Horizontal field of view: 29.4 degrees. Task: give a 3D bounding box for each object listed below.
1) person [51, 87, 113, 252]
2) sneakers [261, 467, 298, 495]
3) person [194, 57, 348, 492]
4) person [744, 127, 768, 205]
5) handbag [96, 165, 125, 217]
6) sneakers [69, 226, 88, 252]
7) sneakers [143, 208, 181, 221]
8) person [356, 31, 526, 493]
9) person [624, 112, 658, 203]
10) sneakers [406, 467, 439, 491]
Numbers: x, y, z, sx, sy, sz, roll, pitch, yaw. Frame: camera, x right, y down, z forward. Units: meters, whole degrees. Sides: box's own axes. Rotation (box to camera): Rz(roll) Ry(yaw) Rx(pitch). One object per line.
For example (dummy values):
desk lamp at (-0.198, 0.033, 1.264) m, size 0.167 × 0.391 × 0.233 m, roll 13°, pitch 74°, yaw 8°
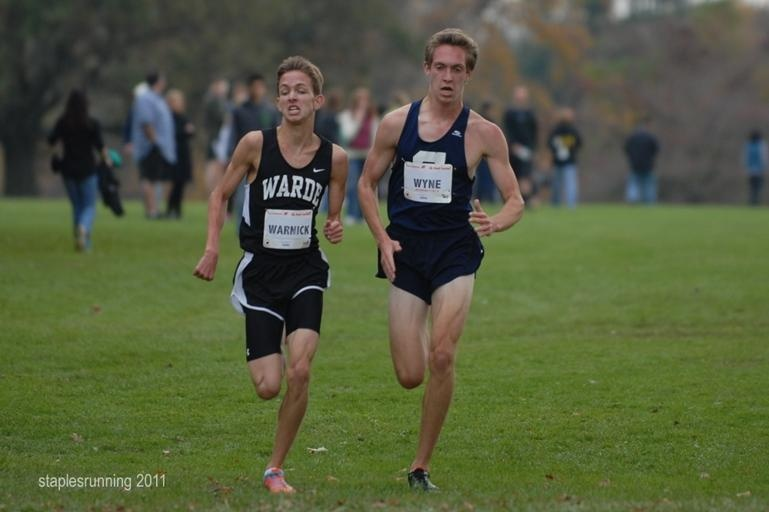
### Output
person at (-3.062, -0.865, 14.693) m, size 0.585 × 1.592 × 0.265 m, roll 0°, pitch 3°, yaw -14°
sneakers at (-0.937, 2.038, 13.253) m, size 0.139 × 0.148 × 0.382 m, roll -6°, pitch 4°, yaw -29°
person at (-0.991, 0.123, 13.522) m, size 1.221 × 3.904 × 0.619 m, roll 1°, pitch 3°, yaw -1°
person at (3.974, -0.949, 15.744) m, size 0.240 × 0.795 × 0.159 m, roll 2°, pitch 3°, yaw 14°
handbag at (-2.768, -0.664, 14.882) m, size 0.220 × 0.550 × 0.195 m, roll -6°, pitch 12°, yaw 23°
sneakers at (-3.051, -0.168, 14.618) m, size 0.186 × 0.355 × 0.221 m, roll -1°, pitch 2°, yaw -12°
sneakers at (-2.779, -0.517, 18.232) m, size 0.572 × 0.237 × 0.179 m, roll -2°, pitch 1°, yaw 26°
person at (0.466, -0.014, 13.692) m, size 1.418 × 4.218 × 0.665 m, roll 1°, pitch 3°, yaw -1°
person at (2.859, -0.990, 16.307) m, size 0.372 × 0.795 × 0.481 m, roll 1°, pitch 4°, yaw 5°
sneakers at (0.344, 2.065, 13.478) m, size 0.128 × 0.154 × 0.345 m, roll -4°, pitch 2°, yaw -34°
